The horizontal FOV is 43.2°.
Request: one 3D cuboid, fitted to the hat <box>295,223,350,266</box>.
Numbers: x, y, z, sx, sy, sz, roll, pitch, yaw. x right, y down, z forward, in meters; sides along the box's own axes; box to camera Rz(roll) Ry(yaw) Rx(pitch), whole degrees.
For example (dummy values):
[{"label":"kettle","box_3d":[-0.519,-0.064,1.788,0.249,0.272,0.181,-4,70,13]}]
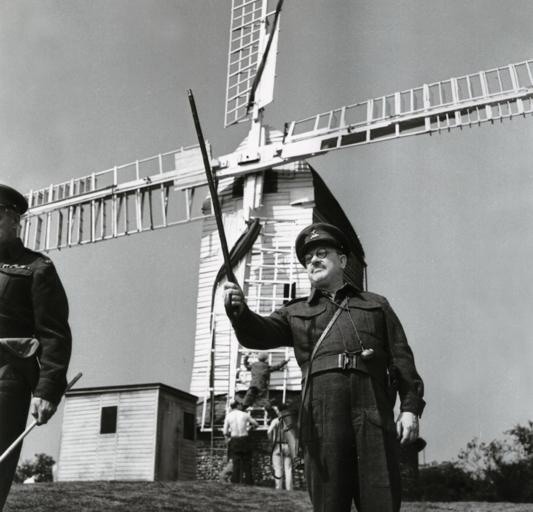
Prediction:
[{"label":"hat","box_3d":[0.337,-0.058,4.320,0.333,0.159,0.375,-14,-33,3]}]
